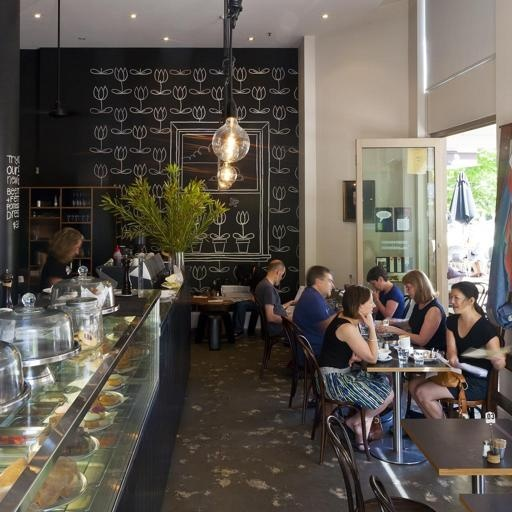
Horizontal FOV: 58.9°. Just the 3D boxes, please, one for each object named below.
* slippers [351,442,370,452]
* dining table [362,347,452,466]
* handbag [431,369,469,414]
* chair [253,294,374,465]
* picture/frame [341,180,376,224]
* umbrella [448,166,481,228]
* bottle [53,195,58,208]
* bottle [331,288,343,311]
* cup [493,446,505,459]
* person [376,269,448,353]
[{"bbox_3d":[0.767,1.388,3.343,0.112,0.040,0.108,0,0,3],"label":"slippers"},{"bbox_3d":[1.007,1.077,3.273,0.791,0.702,0.674,0,-1,5],"label":"dining table"},{"bbox_3d":[1.390,0.948,3.170,0.243,0.275,0.318,0,-7,-13],"label":"handbag"},{"bbox_3d":[0.524,0.836,4.590,1.090,1.463,1.067,-2,-1,7],"label":"chair"},{"bbox_3d":[1.487,-0.798,6.578,0.179,0.651,0.635,-2,3,-18],"label":"picture/frame"},{"bbox_3d":[4.198,-1.194,9.194,0.497,1.040,0.466,0,3,22],"label":"umbrella"},{"bbox_3d":[-3.118,-0.856,7.061,0.056,0.176,0.129,-2,3,-24],"label":"bottle"},{"bbox_3d":[1.013,0.541,5.679,0.077,0.224,0.179,6,-8,-11],"label":"bottle"},{"bbox_3d":[1.008,0.810,1.869,0.045,0.043,0.046,-3,-4,0],"label":"cup"},{"bbox_3d":[1.383,0.530,4.025,0.645,0.766,0.571,-5,6,3],"label":"person"}]
